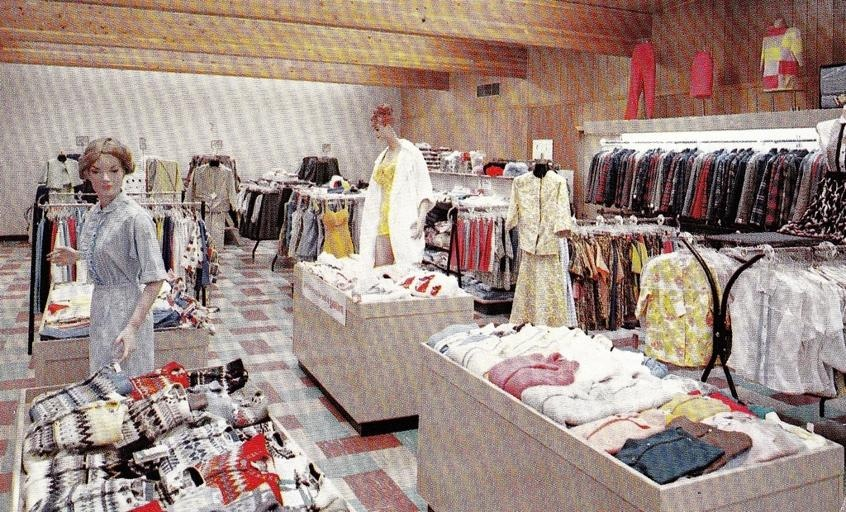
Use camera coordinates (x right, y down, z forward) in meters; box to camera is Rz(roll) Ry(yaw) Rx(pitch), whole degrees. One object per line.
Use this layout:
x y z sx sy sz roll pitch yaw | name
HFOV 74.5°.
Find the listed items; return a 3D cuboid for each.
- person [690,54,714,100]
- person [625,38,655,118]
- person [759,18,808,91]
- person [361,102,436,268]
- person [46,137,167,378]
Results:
4.628 -3.012 9.174 0.327 0.713 0.283 5 14 17 | person
3.925 -3.175 9.934 0.453 1.385 0.589 5 14 18 | person
5.246 -2.943 8.092 0.526 1.002 0.349 7 15 27 | person
-0.261 -0.684 5.395 0.701 1.531 0.639 -1 14 -5 | person
-1.790 0.027 3.260 0.426 1.414 0.795 -8 16 -31 | person
